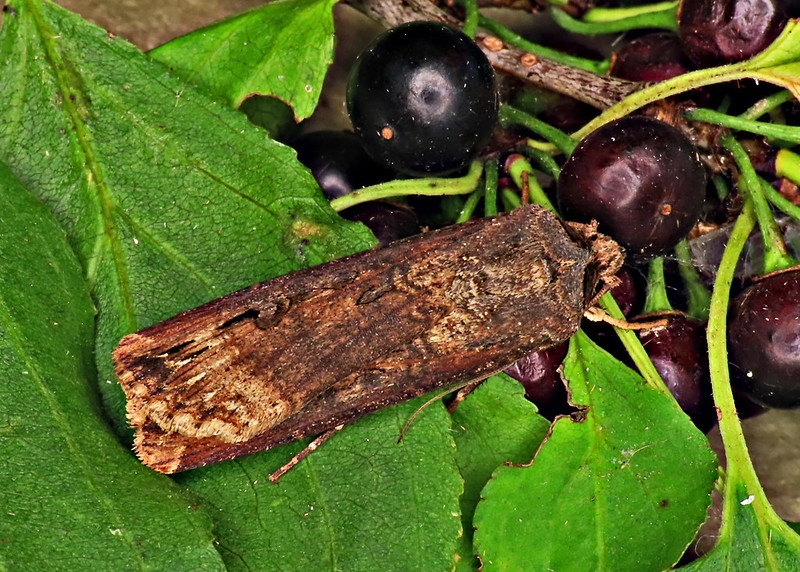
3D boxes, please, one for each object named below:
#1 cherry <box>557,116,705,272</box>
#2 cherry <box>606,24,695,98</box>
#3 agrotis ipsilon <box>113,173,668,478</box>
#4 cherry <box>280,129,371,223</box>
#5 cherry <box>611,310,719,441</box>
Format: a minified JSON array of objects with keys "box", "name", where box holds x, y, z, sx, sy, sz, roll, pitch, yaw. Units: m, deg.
[{"box":[0.417,-0.209,1.793,0.276,0.254,0.301,9,30,-1],"name":"cherry"},{"box":[0.592,-0.511,1.990,0.207,0.120,0.168,-9,8,33],"name":"cherry"},{"box":[-0.019,0.066,1.710,1.008,0.392,0.202,-17,6,-7],"name":"agrotis ipsilon"},{"box":[-0.169,-0.274,2.131,0.197,0.153,0.109,29,-16,4],"name":"cherry"},{"box":[0.560,0.174,1.923,0.206,0.250,0.147,0,26,-12],"name":"cherry"}]
